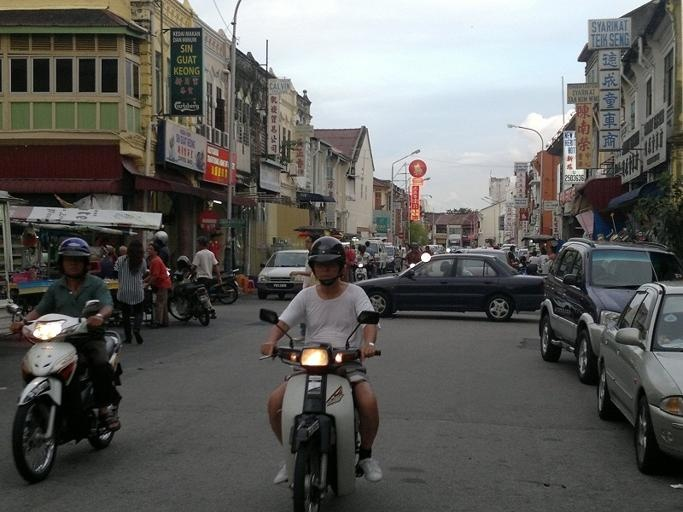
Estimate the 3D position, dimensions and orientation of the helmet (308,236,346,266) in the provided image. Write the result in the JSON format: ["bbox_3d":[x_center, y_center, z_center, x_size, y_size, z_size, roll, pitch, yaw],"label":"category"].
[{"bbox_3d":[-0.112,-0.036,5.025,0.274,0.228,0.266,-2,2,-4],"label":"helmet"}]

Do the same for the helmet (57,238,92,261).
[{"bbox_3d":[-2.587,-0.074,6.253,0.276,0.202,0.297,-3,2,-27],"label":"helmet"}]

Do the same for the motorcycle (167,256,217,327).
[{"bbox_3d":[-4.068,0.975,17.782,1.034,1.803,2.244,3,1,-37],"label":"motorcycle"}]

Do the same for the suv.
[{"bbox_3d":[4.425,0.720,10.865,1.575,1.780,2.969,1,-5,-2],"label":"suv"}]

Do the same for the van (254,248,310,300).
[{"bbox_3d":[-2.364,0.545,25.529,1.585,1.702,3.206,-1,-4,7],"label":"van"}]

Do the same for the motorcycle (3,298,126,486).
[{"bbox_3d":[-2.515,1.190,6.173,0.626,1.510,2.016,-5,-2,4],"label":"motorcycle"}]
